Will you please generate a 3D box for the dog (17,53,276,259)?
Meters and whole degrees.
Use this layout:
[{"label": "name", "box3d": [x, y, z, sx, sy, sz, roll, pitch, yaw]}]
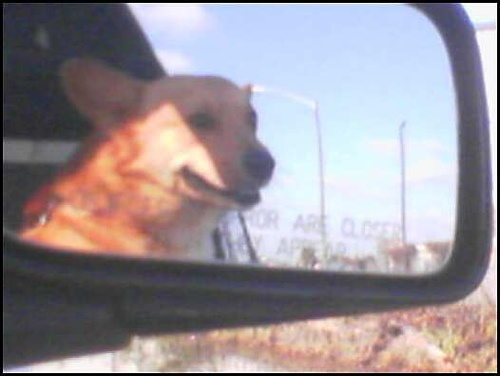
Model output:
[{"label": "dog", "box3d": [-0.423, -0.085, 4.136, 1.142, 0.633, 0.771, -3, 80, 35]}]
